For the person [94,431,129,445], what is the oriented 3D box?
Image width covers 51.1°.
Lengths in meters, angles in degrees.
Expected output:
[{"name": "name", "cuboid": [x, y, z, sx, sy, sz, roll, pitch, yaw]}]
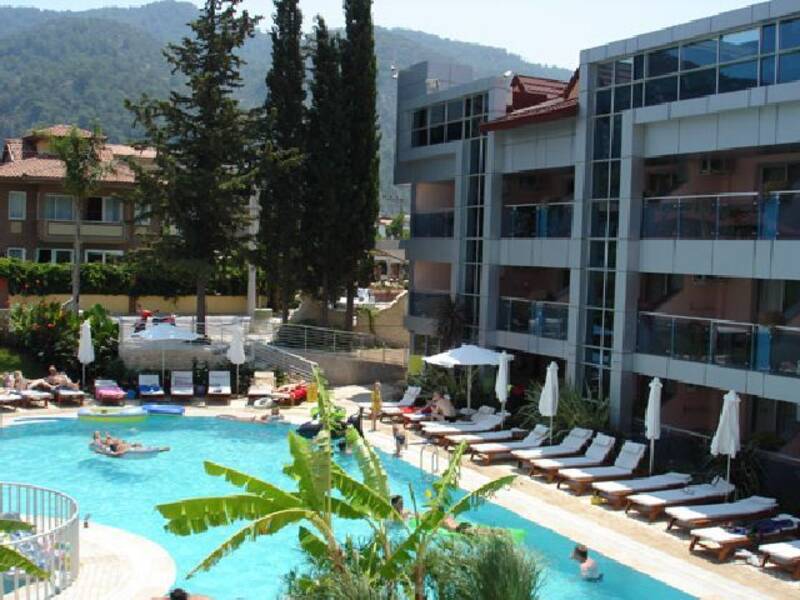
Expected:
[{"name": "person", "cuboid": [-10.238, 4.846, 29.538, 0.558, 0.274, 0.732, 5, 0, -40]}]

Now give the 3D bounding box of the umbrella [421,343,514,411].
[{"name": "umbrella", "cuboid": [2.918, 3.173, 31.398, 2.497, 1.832, 2.782, 4, 4, 25]}]

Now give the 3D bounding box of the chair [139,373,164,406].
[{"name": "chair", "cuboid": [-10.947, 3.792, 36.600, 0.845, 0.936, 1.393, 1, 8, -14]}]

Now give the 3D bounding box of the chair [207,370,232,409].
[{"name": "chair", "cuboid": [-8.095, 3.832, 37.329, 0.847, 1.031, 1.541, 1, 8, -7]}]

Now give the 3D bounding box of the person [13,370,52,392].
[{"name": "person", "cuboid": [-15.877, 3.515, 35.986, 1.337, 0.445, 0.966, 2, 0, -10]}]

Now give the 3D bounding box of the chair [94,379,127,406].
[{"name": "chair", "cuboid": [-12.427, 3.898, 35.616, 0.898, 0.708, 1.430, 0, 9, -25]}]

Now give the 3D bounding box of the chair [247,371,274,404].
[{"name": "chair", "cuboid": [-6.391, 3.788, 37.575, 0.829, 1.377, 1.555, 1, -15, -4]}]

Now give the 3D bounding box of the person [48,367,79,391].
[{"name": "person", "cuboid": [-14.912, 3.499, 36.725, 1.071, 0.465, 1.356, 4, 4, -28]}]
